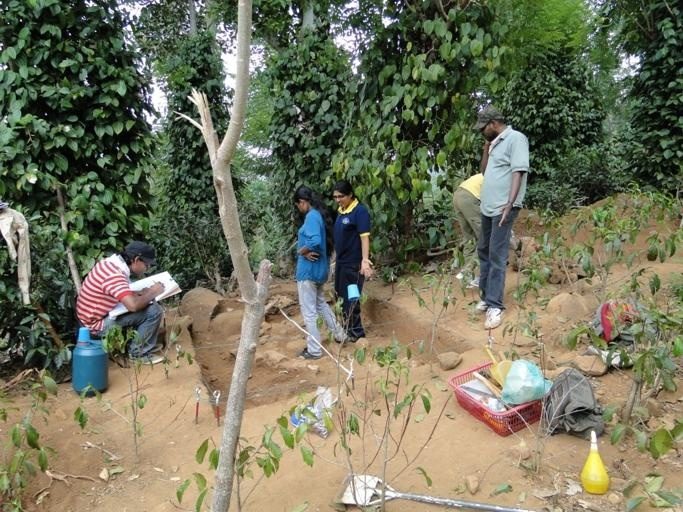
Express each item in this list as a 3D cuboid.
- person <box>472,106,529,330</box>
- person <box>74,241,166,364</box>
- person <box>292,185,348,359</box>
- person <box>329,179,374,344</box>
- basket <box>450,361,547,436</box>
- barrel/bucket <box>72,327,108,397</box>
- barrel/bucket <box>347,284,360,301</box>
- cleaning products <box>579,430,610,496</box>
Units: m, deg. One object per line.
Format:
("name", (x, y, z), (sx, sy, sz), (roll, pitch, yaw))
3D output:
("person", (1.717, -0.366, 5.707), (0.671, 2.510, 0.648), (8, 12, 23))
("person", (-2.577, 0.545, 5.868), (0.947, 1.438, 0.827), (0, 10, -33))
("person", (-0.296, 0.154, 6.259), (0.540, 2.045, 0.489), (-4, 12, -8))
("person", (0.125, 0.063, 6.473), (0.518, 2.012, 0.604), (0, 13, -30))
("basket", (1.316, 1.229, 4.323), (0.413, 0.364, 0.767), (-10, 13, -33))
("barrel/bucket", (-2.634, 1.082, 5.230), (0.359, 0.632, 0.378), (6, 5, -1))
("barrel/bucket", (0.137, 0.422, 6.139), (0.176, 0.198, 0.171), (-2, -32, -1))
("cleaning products", (1.782, 1.414, 3.474), (0.187, 0.441, 0.153), (4, 13, 29))
